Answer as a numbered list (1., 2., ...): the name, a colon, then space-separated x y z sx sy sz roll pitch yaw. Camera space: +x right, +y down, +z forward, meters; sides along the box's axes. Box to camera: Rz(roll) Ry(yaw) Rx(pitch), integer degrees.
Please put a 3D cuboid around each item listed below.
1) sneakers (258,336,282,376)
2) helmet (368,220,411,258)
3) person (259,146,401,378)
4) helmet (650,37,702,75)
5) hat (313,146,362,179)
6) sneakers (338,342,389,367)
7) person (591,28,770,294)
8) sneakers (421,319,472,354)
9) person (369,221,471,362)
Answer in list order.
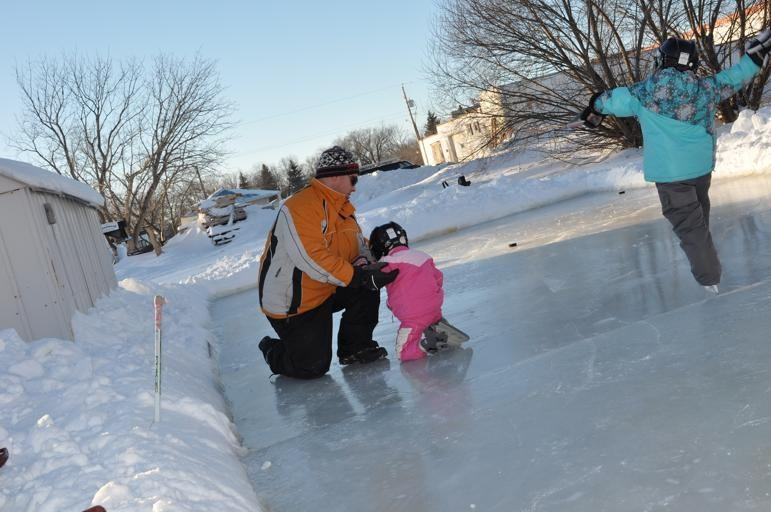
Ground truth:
1. sneakers: -0.948 0.836 5.300 0.137 0.226 0.297 13 34 -13
2. helmet: -0.039 -0.135 5.278 0.285 0.318 0.350 -9 10 -26
3. person: -0.571 0.116 5.044 1.290 1.847 0.616 -22 13 -13
4. helmet: 2.267 -1.583 4.827 0.337 0.263 0.246 3 27 -12
5. hat: -0.338 -0.813 5.049 0.335 0.226 0.328 -23 25 -1
6. sneakers: -0.172 0.864 5.348 0.472 0.189 0.167 -14 5 8
7. person: 2.256 -0.680 4.771 1.099 1.931 0.698 -15 14 18
8. sneakers: 0.553 0.676 5.018 0.598 0.162 0.249 -2 9 13
9. person: 0.225 0.257 5.223 0.731 1.247 0.453 -12 -26 -26
